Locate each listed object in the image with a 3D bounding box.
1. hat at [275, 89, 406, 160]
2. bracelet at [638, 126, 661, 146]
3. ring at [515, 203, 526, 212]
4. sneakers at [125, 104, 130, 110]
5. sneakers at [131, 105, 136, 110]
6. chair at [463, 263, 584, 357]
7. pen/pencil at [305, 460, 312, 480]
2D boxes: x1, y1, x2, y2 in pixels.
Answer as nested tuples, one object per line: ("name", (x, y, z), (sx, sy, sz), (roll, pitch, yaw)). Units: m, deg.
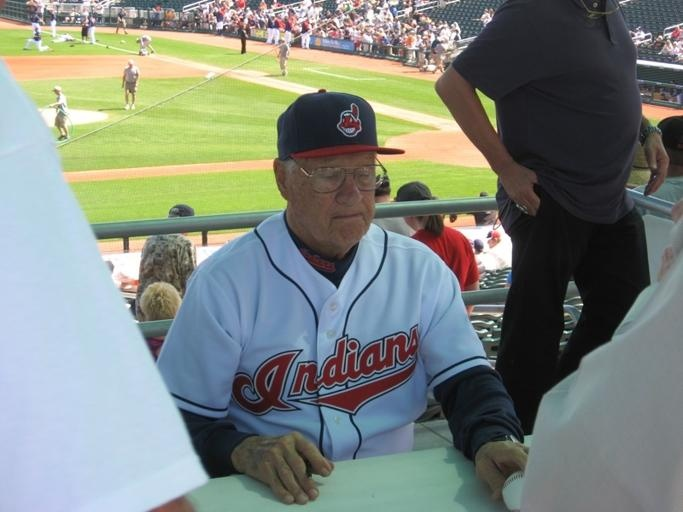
("hat", (-0.007, -0.269, 1.563), (0.218, 0.120, 0.167), (3, 9, 42))
("bracelet", (1.053, -0.406, 2.409), (0.063, 0.034, 0.076), (-5, -2, 13))
("ring", (0.534, -0.149, 2.099), (0.019, 0.011, 0.026), (15, 16, -19))
("sneakers", (-6.135, -4.271, 20.064), (0.078, 0.180, 0.171), (3, -16, -5))
("sneakers", (-5.972, -4.269, 20.080), (0.128, 0.140, 0.245), (0, 2, -6))
("chair", (0.888, 0.298, 3.538), (0.481, 0.708, 0.502), (3, 1, 14))
("pen/pencil", (-0.058, 0.363, 1.195), (0.007, 0.034, 0.009), (9, -21, -43))
